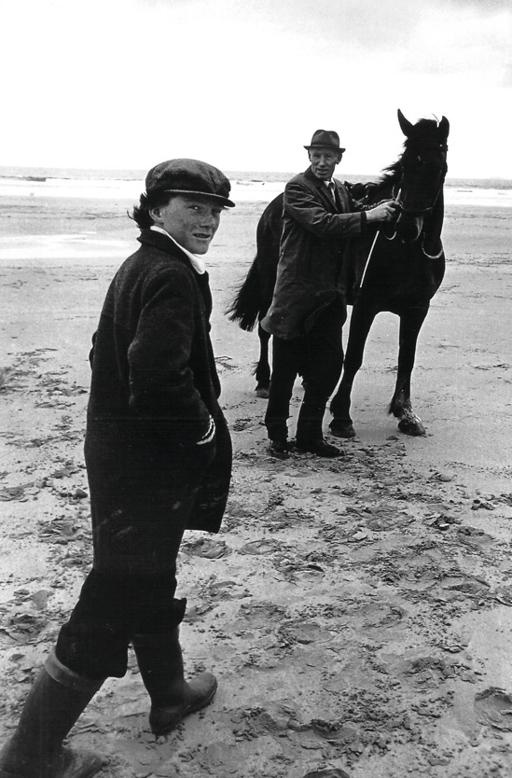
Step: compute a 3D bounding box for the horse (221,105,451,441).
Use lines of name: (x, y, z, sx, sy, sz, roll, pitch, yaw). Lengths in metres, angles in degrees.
horse: (0.562, -0.708, 5.935, 0.675, 1.920, 2.760, -5, 11, -22)

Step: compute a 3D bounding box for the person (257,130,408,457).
person: (0.341, -0.478, 4.669, 0.636, 1.705, 0.566, 8, 14, 23)

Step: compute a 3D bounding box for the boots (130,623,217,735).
boots: (-0.223, 0.819, 2.590, 0.118, 0.315, 0.291, 8, 18, 35)
